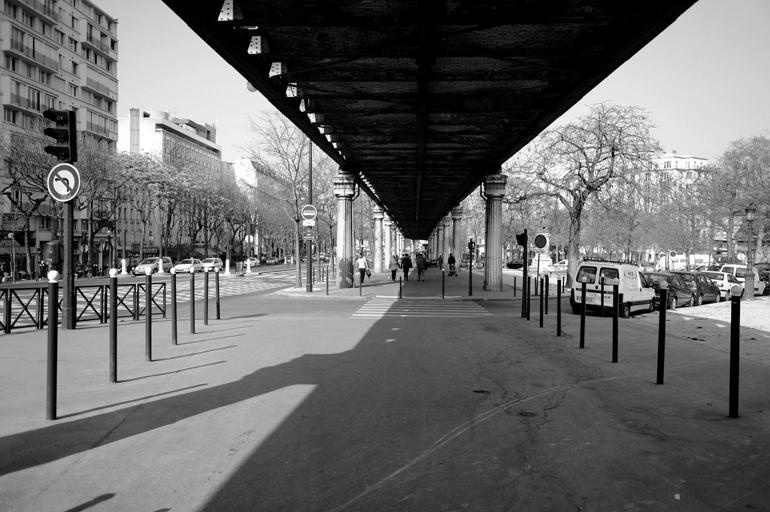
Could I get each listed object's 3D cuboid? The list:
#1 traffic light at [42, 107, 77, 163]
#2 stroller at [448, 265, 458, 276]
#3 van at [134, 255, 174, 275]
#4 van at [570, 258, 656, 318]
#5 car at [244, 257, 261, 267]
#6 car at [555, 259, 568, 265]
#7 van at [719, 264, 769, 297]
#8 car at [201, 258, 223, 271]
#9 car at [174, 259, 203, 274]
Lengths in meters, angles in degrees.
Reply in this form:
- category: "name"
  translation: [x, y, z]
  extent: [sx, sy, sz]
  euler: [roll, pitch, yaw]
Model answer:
- category: "traffic light"
  translation: [-7.824, -2.909, 15.717]
  extent: [0.445, 1.304, 0.629]
  euler: [-10, -9, 28]
- category: "stroller"
  translation: [5.529, 1.257, 53.935]
  extent: [1.033, 1.162, 0.677]
  euler: [-4, 16, 9]
- category: "van"
  translation: [-18.524, 0.702, 52.426]
  extent: [1.388, 1.127, 2.304]
  euler: [-3, -5, 21]
- category: "van"
  translation: [7.525, 1.047, 22.570]
  extent: [2.184, 2.035, 3.855]
  euler: [3, 6, 44]
- category: "car"
  translation: [-17.484, 0.738, 86.374]
  extent: [1.274, 0.971, 2.323]
  euler: [0, -2, 3]
- category: "car"
  translation: [24.160, 0.744, 89.275]
  extent: [1.568, 0.923, 0.982]
  euler: [4, 0, -2]
- category: "van"
  translation: [19.630, 1.308, 35.540]
  extent: [2.863, 1.596, 1.656]
  euler: [-7, 6, -41]
- category: "car"
  translation: [-14.240, 0.618, 53.683]
  extent: [0.967, 0.854, 1.695]
  euler: [-2, -6, 8]
- category: "car"
  translation: [-16.415, 0.820, 54.955]
  extent: [1.178, 0.969, 2.563]
  euler: [-1, -4, 5]
